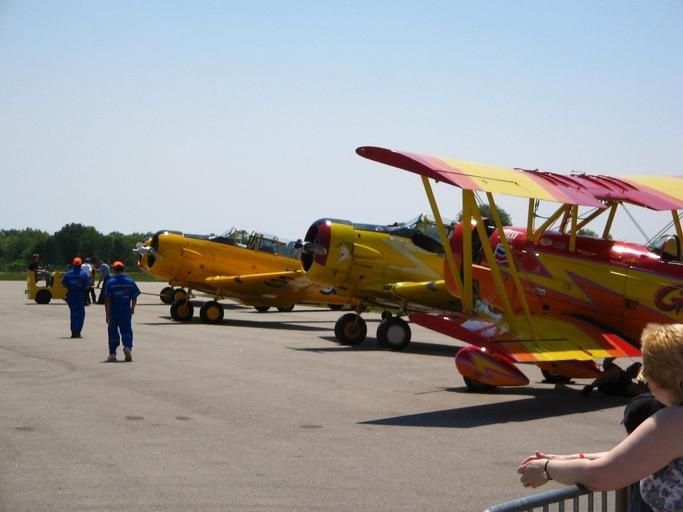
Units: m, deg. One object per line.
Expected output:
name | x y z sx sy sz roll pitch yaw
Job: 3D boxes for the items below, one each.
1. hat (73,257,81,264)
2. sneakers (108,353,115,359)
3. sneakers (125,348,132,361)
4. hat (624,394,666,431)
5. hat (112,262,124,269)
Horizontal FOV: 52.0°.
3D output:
hat | -6.736 0.111 17.889 0.340 0.161 0.405 2 0 -20
sneakers | -4.071 1.782 12.439 0.107 0.093 0.129 5 -8 -29
sneakers | -3.762 1.741 12.407 0.131 0.230 0.123 -3 7 -1
hat | 1.707 0.882 4.000 0.232 0.112 0.248 -3 -2 2
hat | -4.135 0.154 13.065 0.212 0.076 0.248 2 -5 -22
